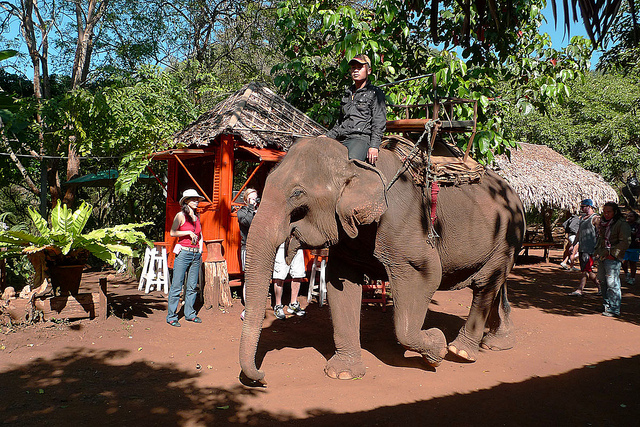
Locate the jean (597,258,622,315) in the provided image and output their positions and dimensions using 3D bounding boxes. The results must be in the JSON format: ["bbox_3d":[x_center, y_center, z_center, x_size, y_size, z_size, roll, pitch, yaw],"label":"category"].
[{"bbox_3d":[6.552,1.657,11.078,0.416,1.301,0.540,-9,14,-42],"label":"jean"}]

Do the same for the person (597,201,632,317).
[{"bbox_3d":[6.617,1.065,11.069,0.590,2.505,0.928,7,12,27],"label":"person"}]

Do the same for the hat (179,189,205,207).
[{"bbox_3d":[-2.620,-0.349,9.995,0.363,0.203,0.379,-11,-18,-5],"label":"hat"}]

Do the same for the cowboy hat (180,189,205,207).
[{"bbox_3d":[-2.632,-0.378,9.995,0.352,0.196,0.367,-9,-18,-6],"label":"cowboy hat"}]

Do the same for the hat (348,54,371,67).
[{"bbox_3d":[0.677,-2.543,7.976,0.272,0.179,0.355,9,13,33],"label":"hat"}]

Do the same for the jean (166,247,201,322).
[{"bbox_3d":[-2.700,1.463,9.749,0.398,1.553,0.826,8,13,34],"label":"jean"}]

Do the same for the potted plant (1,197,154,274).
[{"bbox_3d":[-4.731,0.472,9.276,1.885,1.000,1.882,7,-8,-26],"label":"potted plant"}]

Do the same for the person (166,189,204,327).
[{"bbox_3d":[-2.660,0.894,9.730,0.564,2.606,1.059,4,11,12],"label":"person"}]
